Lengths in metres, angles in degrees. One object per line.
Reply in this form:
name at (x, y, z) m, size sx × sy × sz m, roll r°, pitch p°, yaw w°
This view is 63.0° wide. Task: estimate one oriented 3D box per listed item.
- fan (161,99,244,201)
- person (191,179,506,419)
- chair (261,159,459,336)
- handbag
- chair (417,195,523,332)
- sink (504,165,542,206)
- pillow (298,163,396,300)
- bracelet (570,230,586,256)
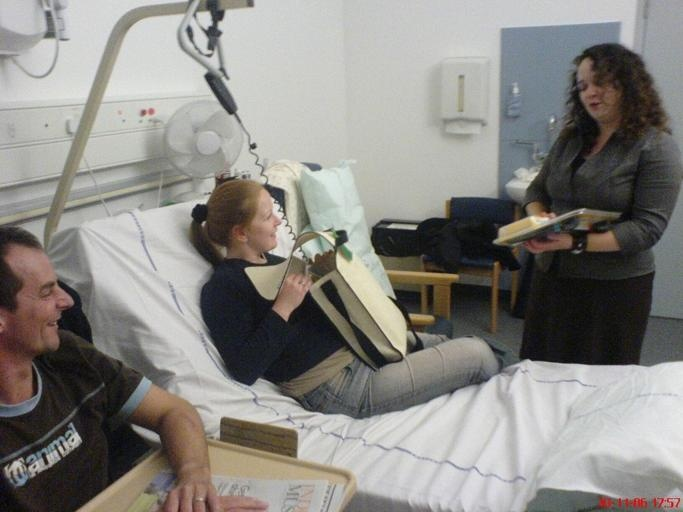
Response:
fan at (-0.626, -0.523, 2.563) m, size 0.352 × 0.479 × 0.297 m, roll -8°, pitch 38°, yaw -16°
person at (0.030, 0.192, 2.266) m, size 1.183 × 0.902 × 0.573 m, roll -2°, pitch 0°, yaw -13°
chair at (0.149, -0.147, 3.303) m, size 1.030 × 1.134 × 0.769 m, roll 5°, pitch 14°, yaw 21°
handbag at (-0.046, 0.194, 2.137) m, size 0.229 × 0.589 × 0.449 m, roll -31°, pitch 11°, yaw 32°
chair at (0.878, 0.044, 3.717) m, size 0.606 × 0.846 × 0.584 m, roll 5°, pitch 11°, yaw 27°
sink at (1.192, -0.469, 3.654) m, size 0.346 × 0.178 × 0.442 m, roll -1°, pitch 17°, yaw 18°
pillow at (-0.074, -0.103, 3.142) m, size 0.200 × 0.712 × 0.598 m, roll -10°, pitch 10°, yaw 26°
bracelet at (0.908, -0.055, 2.125) m, size 0.052 × 0.077 × 0.072 m, roll 2°, pitch 14°, yaw 10°
